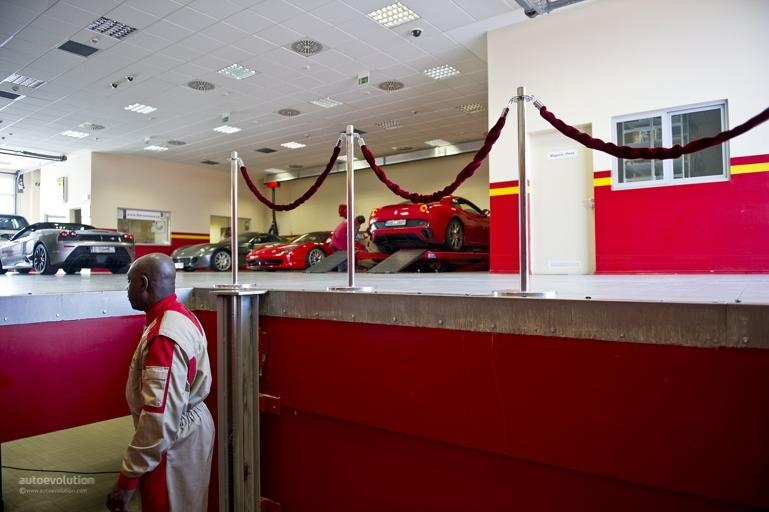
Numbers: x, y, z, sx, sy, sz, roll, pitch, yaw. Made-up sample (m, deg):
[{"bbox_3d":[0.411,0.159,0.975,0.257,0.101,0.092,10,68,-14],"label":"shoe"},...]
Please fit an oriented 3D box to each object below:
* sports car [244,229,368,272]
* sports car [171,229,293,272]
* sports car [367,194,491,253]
[{"bbox_3d":[-1.875,-0.272,11.739,2.130,0.600,1.224,2,-5,-43],"label":"sports car"},{"bbox_3d":[-3.961,-0.100,12.829,1.186,0.670,2.315,-7,-6,45],"label":"sports car"},{"bbox_3d":[1.119,-0.613,10.220,1.218,0.673,2.268,-2,1,39],"label":"sports car"}]
